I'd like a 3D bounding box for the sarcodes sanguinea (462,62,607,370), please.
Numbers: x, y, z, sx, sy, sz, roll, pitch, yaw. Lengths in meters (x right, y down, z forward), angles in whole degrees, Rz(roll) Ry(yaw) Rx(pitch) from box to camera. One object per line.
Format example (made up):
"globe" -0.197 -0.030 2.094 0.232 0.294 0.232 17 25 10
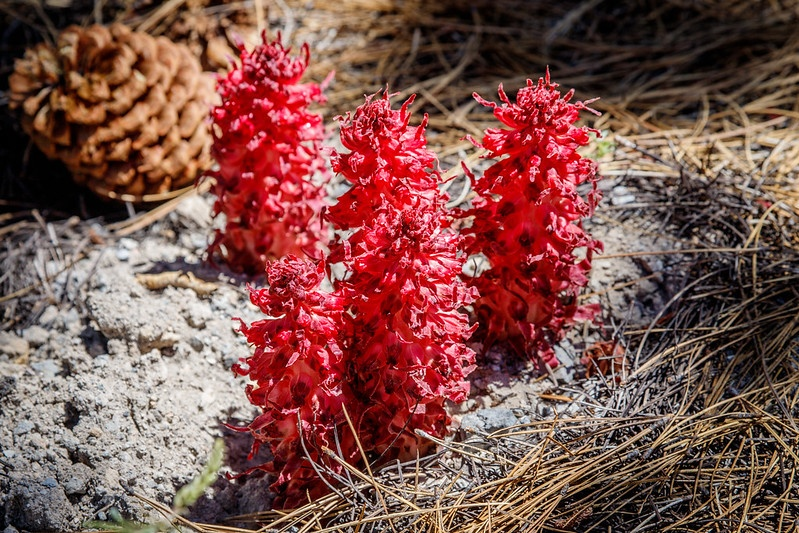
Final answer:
"sarcodes sanguinea" 0.621 -0.166 3.850 0.793 1.373 0.446 -32 41 -15

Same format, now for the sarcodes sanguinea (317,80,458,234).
"sarcodes sanguinea" -0.113 -0.430 3.588 0.562 0.568 0.416 -16 39 3
